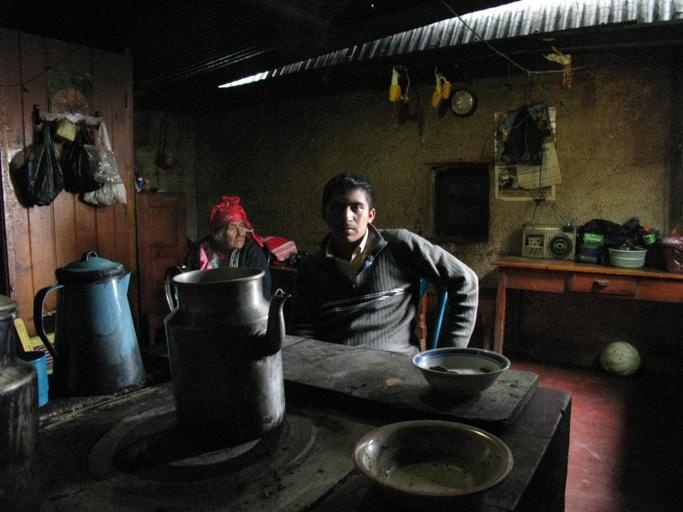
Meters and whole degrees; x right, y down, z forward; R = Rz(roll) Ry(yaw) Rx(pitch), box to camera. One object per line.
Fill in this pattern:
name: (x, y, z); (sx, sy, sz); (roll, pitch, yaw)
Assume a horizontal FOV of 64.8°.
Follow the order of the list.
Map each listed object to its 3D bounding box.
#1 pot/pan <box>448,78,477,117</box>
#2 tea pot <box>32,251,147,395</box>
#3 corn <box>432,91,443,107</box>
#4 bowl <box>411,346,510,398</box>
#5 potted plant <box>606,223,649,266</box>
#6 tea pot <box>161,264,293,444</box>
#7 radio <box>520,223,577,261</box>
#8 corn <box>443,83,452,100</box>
pot/pan: (1.268, -1.641, 5.643); (0.074, 0.327, 0.311); (-8, 25, -40)
tea pot: (-1.192, 0.268, 2.527); (0.446, 0.669, 0.570); (7, 12, 35)
corn: (1.006, -1.653, 5.679); (0.107, 0.150, 0.056); (16, 39, 12)
bowl: (0.481, 0.465, 2.200); (0.243, 0.094, 0.252); (-2, 5, 0)
potted plant: (2.612, -0.087, 4.848); (0.375, 0.401, 0.300); (-6, 1, -2)
tea pot: (-0.434, 0.375, 2.064); (0.429, 0.606, 0.333); (11, 16, 36)
radio: (2.006, -0.135, 5.216); (0.490, 0.366, 0.320); (0, -1, 30)
corn: (1.102, -1.736, 5.629); (0.108, 0.162, 0.094); (14, 46, 19)
